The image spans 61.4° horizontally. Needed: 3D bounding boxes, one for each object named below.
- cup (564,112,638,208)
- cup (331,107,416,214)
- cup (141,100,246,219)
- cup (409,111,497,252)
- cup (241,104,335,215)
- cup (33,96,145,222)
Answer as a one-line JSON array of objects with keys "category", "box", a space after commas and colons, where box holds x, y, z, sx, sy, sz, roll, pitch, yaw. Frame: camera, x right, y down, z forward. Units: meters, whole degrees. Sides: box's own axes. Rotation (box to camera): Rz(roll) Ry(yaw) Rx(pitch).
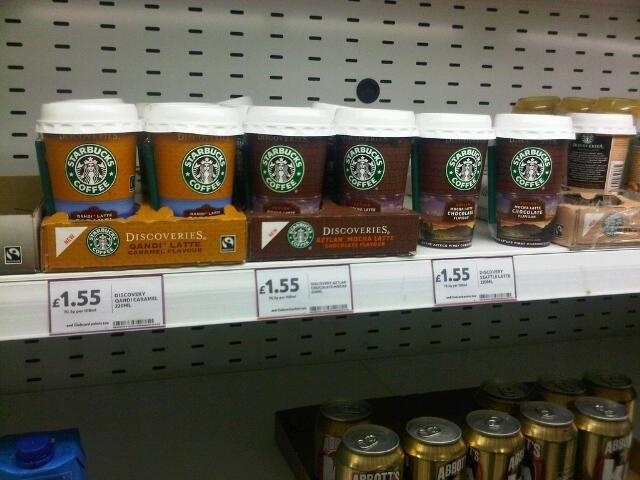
[{"category": "cup", "box": [0.706, -0.219, 1.430, 0.211, 0.252, 0.209, 0, 10, 0]}, {"category": "cup", "box": [0.124, -0.185, 1.235, 0.193, 0.224, 0.200, 1, 15, 0]}, {"category": "cup", "box": [-0.247, -0.187, 1.171, 0.205, 0.218, 0.217, 2, 14, 0]}, {"category": "cup", "box": [0.313, -0.144, 1.259, 0.184, 0.306, 0.153, -2, 10, 18]}, {"category": "cup", "box": [-0.068, -0.181, 1.182, 0.200, 0.218, 0.209, 1, 13, 0]}, {"category": "cup", "box": [-0.465, -0.185, 1.148, 0.215, 0.245, 0.216, 2, 14, -1]}]
